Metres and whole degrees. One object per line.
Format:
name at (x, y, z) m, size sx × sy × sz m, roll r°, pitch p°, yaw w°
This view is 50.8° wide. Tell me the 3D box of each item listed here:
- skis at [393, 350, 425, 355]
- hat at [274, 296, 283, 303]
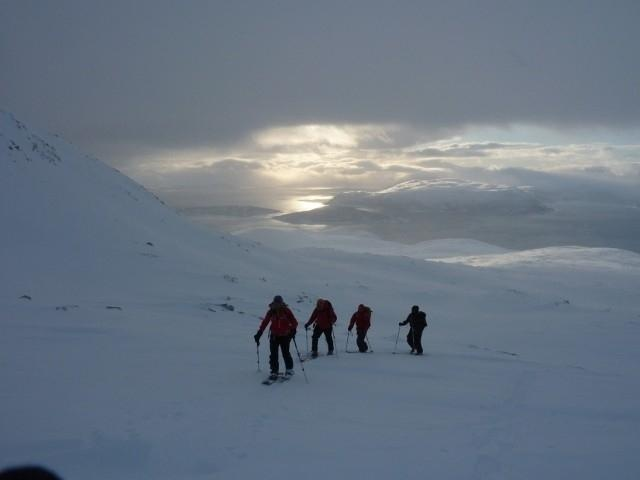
skis at (3.778, 4.721, 28.378) m, size 0.954 × 0.105 × 0.122 m, roll 4°, pitch -51°, yaw -11°
hat at (-1.486, 2.092, 24.086) m, size 0.207 × 0.234 × 0.276 m, roll 3°, pitch 5°, yaw 31°
